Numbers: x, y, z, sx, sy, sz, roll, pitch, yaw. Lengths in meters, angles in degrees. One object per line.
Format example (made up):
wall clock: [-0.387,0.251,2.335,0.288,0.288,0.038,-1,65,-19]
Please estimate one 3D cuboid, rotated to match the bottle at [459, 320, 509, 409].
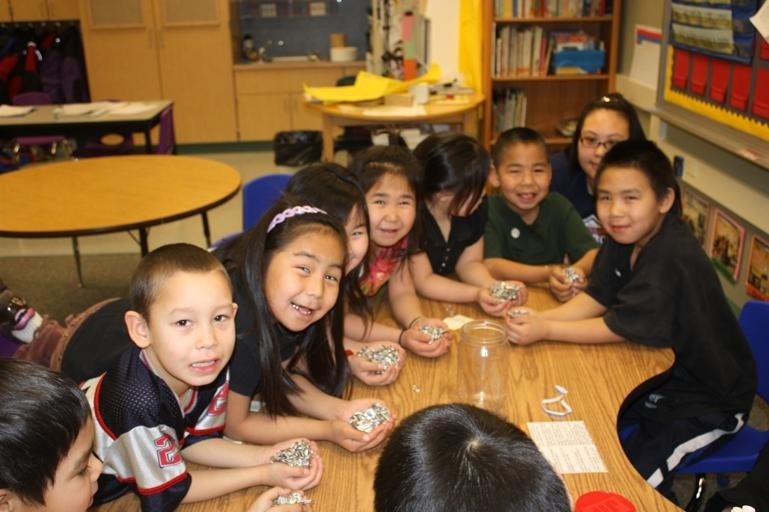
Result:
bottle: [0.305,0.330,1.814,0.155,0.215,0.218,4,22,14]
